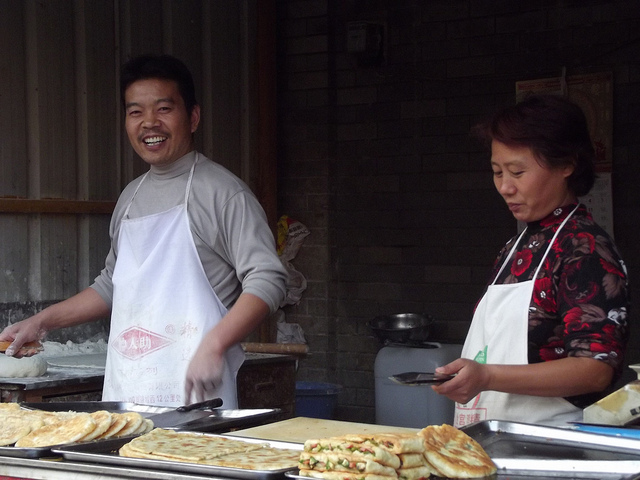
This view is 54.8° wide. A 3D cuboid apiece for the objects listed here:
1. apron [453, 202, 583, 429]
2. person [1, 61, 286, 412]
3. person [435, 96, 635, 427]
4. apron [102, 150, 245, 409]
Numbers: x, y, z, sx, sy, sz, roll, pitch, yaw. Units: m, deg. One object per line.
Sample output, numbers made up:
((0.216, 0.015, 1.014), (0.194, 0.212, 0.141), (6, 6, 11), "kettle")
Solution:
((0.633, 0.286, 2.097), (0.483, 0.683, 0.405), (-4, -5, 26), "apron")
((-0.553, 0.009, 2.506), (0.766, 1.199, 0.474), (-6, -6, 42), "person")
((0.682, 0.053, 2.102), (0.605, 0.862, 0.563), (-3, -4, 6), "person")
((-0.628, 0.171, 2.451), (0.494, 0.872, 0.260), (-4, -5, 21), "apron")
